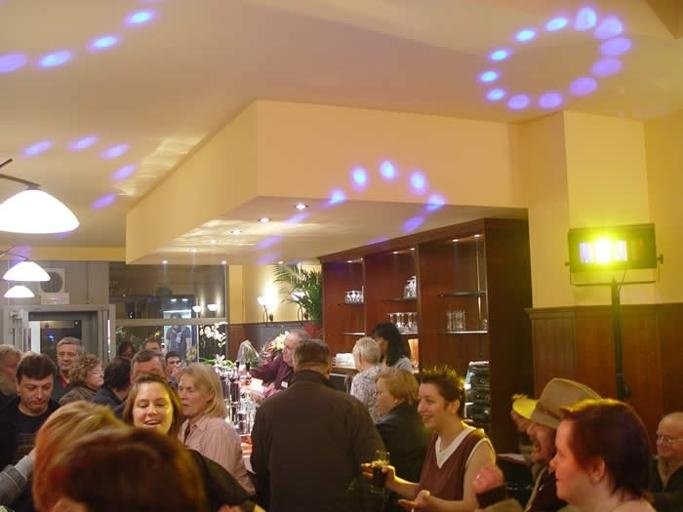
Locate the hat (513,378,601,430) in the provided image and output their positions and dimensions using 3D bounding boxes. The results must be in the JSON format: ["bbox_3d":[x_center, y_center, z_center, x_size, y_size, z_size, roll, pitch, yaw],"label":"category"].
[{"bbox_3d":[1.007,0.714,2.707,0.249,0.223,0.500,2,-11,-6],"label":"hat"}]
